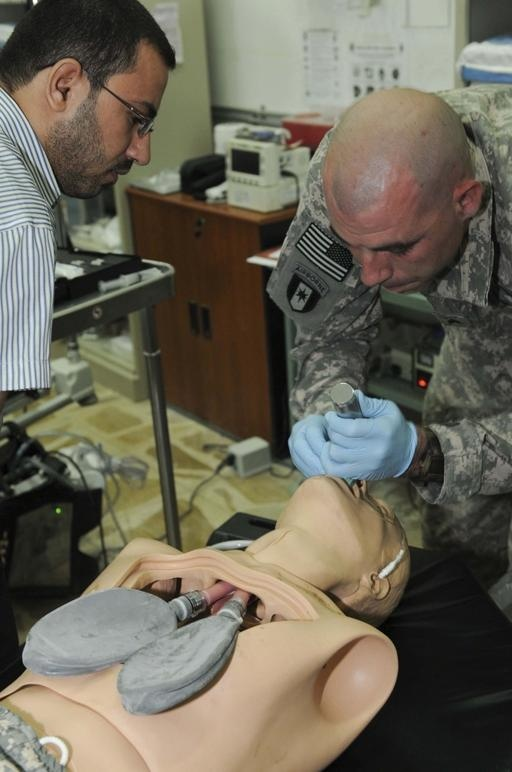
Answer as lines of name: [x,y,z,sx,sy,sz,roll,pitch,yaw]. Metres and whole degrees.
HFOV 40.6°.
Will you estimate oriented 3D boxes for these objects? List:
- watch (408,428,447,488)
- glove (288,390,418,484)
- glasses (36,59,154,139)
watch: [0.289,0.128,1.152,0.078,0.059,0.057,9,2,-2]
glove: [0.143,0.081,1.054,0.196,0.159,0.138,-1,18,13]
glasses: [-0.267,-0.524,1.280,0.034,0.109,0.105,-53,17,-20]
